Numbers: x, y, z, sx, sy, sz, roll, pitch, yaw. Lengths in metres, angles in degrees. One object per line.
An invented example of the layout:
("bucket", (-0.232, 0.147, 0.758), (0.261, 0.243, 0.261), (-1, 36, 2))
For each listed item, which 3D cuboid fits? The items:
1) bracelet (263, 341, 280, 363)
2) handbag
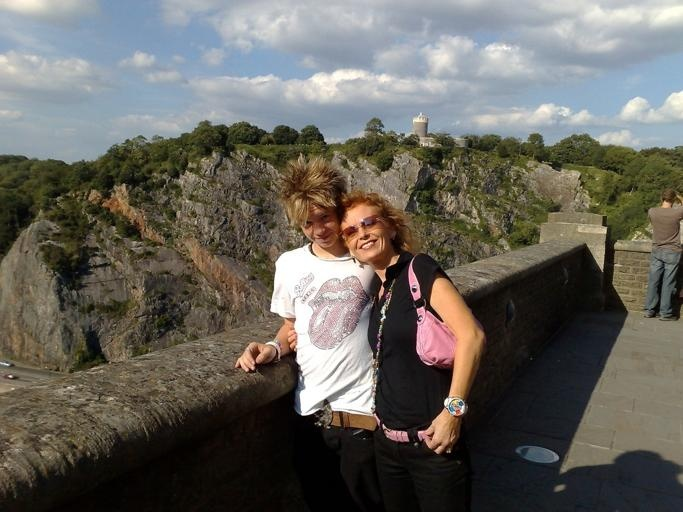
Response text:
("bracelet", (-0.270, 0.379, 1.739), (0.052, 0.073, 0.076), (-2, 17, -14))
("handbag", (0.288, 0.200, 1.478), (0.095, 0.357, 0.197), (-12, 15, -38))
